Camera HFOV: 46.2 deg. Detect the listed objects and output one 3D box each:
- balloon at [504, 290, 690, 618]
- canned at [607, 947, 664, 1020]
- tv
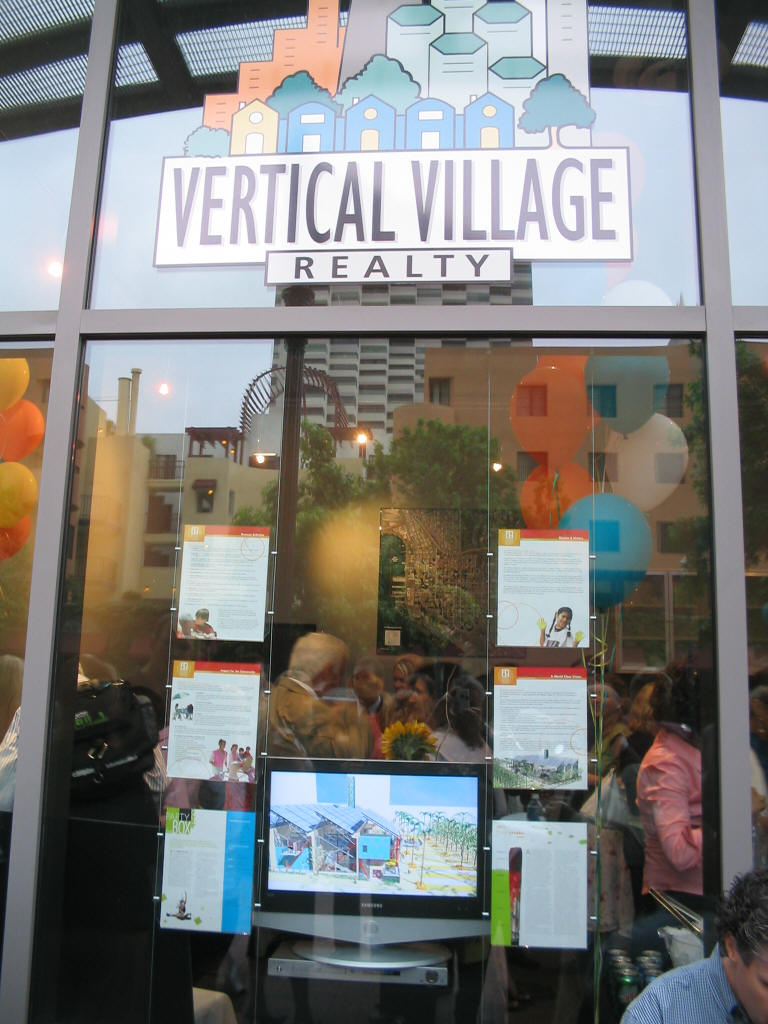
[{"bbox_3d":[0.702,-0.133,2.743,0.549,0.750,0.340,-4,-6,14],"label":"balloon"},{"bbox_3d":[0.674,1.318,2.507,0.174,0.159,0.126,1,1,8],"label":"canned"},{"bbox_3d":[-0.012,1.069,2.671,0.648,0.465,0.049,1,-8,4],"label":"tv"}]
